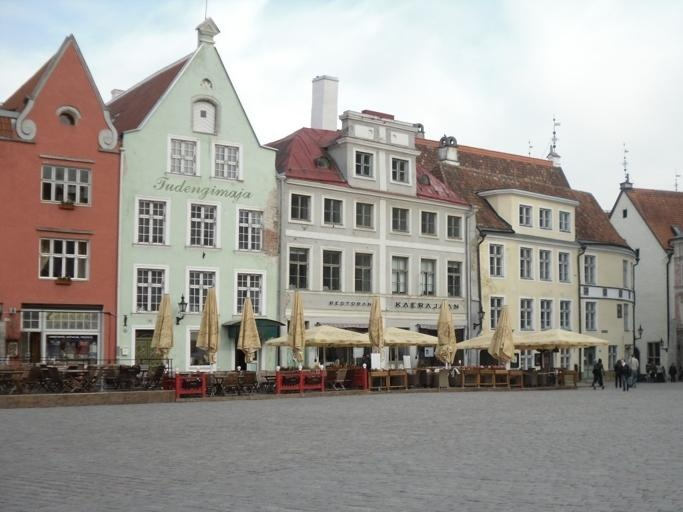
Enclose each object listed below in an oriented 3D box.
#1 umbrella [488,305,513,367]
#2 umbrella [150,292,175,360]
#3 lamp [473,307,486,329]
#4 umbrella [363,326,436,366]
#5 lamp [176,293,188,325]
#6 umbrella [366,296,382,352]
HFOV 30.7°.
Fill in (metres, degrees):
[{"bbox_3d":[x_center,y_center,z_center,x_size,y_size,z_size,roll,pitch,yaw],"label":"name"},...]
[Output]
[{"bbox_3d":[6.837,3.295,52.768,0.984,2.429,1.952,-3,-11,7],"label":"umbrella"},{"bbox_3d":[-6.773,2.667,47.369,0.733,2.455,0.979,1,-11,-12],"label":"umbrella"},{"bbox_3d":[7.088,3.150,63.355,0.613,1.209,1.130,-2,-11,6],"label":"lamp"},{"bbox_3d":[2.620,3.585,52.680,2.531,1.609,2.419,2,-7,-18],"label":"umbrella"},{"bbox_3d":[-6.713,2.287,53.075,0.539,1.247,0.632,4,-12,-25],"label":"lamp"},{"bbox_3d":[1.447,2.739,50.334,0.591,2.149,0.808,-2,-11,1],"label":"umbrella"}]
